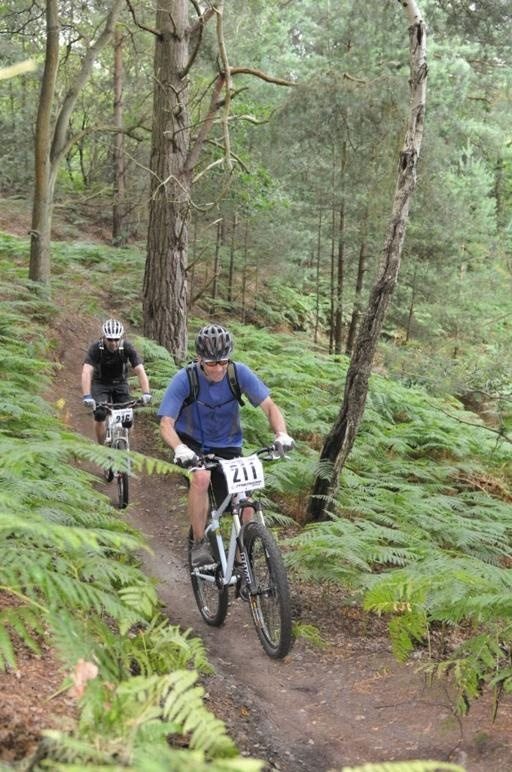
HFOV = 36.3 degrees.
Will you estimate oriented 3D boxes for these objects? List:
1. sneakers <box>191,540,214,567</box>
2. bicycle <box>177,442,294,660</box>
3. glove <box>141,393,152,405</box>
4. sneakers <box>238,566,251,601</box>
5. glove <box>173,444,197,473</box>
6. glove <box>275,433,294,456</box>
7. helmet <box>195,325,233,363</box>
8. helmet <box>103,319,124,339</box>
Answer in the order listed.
[{"bbox_3d":[-0.414,1.265,5.913,0.144,0.210,0.201,-4,25,-11],"label":"sneakers"},{"bbox_3d":[-0.120,1.206,5.631,0.602,1.474,1.253,-5,12,-26],"label":"bicycle"},{"bbox_3d":[-1.240,0.131,8.701,0.096,0.110,0.127,-1,-8,-16],"label":"glove"},{"bbox_3d":[-0.086,1.431,5.614,0.079,0.253,0.180,-1,34,-7],"label":"sneakers"},{"bbox_3d":[-0.504,0.506,5.479,0.080,0.134,0.181,-33,42,-29],"label":"glove"},{"bbox_3d":[0.177,0.418,5.660,0.116,0.150,0.054,2,-1,-29],"label":"glove"},{"bbox_3d":[-0.323,-0.315,5.657,0.219,0.259,0.286,-2,15,-8],"label":"helmet"},{"bbox_3d":[-1.588,-0.614,8.538,0.172,0.110,0.286,-5,38,-20],"label":"helmet"}]
